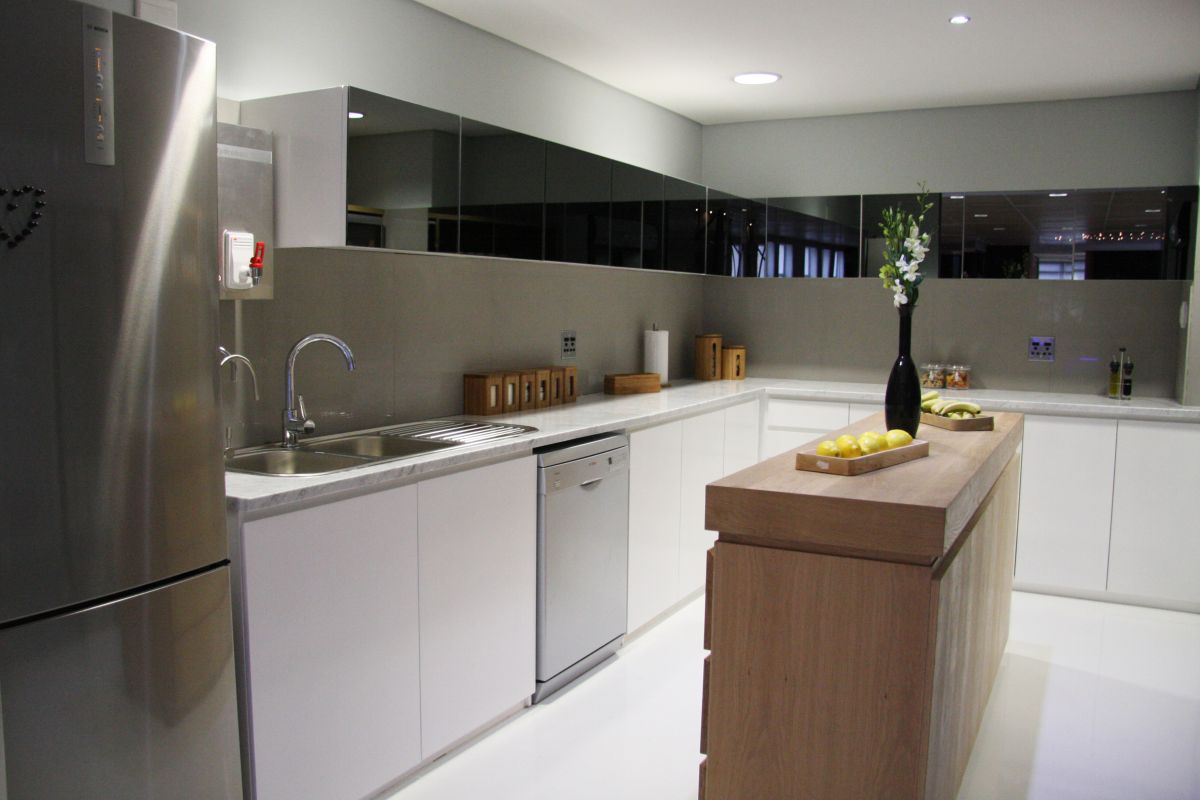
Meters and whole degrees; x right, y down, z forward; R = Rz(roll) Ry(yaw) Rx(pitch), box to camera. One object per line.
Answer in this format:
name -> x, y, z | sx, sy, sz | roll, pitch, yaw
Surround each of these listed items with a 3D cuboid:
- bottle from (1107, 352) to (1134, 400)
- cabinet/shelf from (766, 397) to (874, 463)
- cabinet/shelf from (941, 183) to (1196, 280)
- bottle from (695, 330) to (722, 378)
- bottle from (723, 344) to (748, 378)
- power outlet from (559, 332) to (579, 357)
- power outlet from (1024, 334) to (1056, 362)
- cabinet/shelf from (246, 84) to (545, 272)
bottle -> 3.374, -0.167, 5.416 | 0.142, 0.298, 0.193 | 8, 13, 32
cabinet/shelf -> 1.233, 0.143, 4.631 | 0.367, 0.359, 0.121 | 3, 8, 23
cabinet/shelf -> 2.858, -1.041, 5.237 | 1.424, 0.571, 0.182 | 6, 12, 21
bottle -> 0.821, -0.312, 6.260 | 0.207, 0.323, 0.231 | 2, 12, 3
bottle -> 1.023, -0.284, 6.301 | 0.208, 0.243, 0.206 | -4, 8, -32
power outlet -> -0.198, -0.335, 5.083 | 0.021, 0.151, 0.146 | 4, 6, 37
power outlet -> 2.989, -0.349, 5.670 | 0.180, 0.167, 0.026 | 7, 13, 27
cabinet/shelf -> -0.978, -0.920, 3.393 | 0.846, 0.604, 0.465 | -5, 13, -25
